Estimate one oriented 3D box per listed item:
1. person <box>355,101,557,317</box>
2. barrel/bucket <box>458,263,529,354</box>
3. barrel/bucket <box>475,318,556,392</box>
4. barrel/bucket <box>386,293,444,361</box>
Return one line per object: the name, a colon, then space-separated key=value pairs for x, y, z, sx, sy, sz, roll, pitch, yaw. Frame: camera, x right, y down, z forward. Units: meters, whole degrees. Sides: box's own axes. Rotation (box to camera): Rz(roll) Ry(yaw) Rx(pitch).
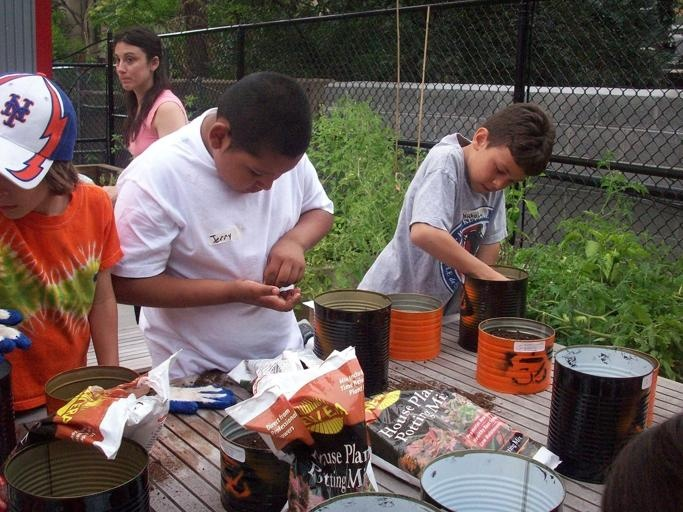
person: x=0.565 y=-0.190 z=2.720 sx=0.647 sy=1.043 sz=0.750 roll=-13 pitch=25 yaw=-40
barrel/bucket: x=0.522 y=0.197 z=2.259 sx=0.269 sy=0.311 sz=0.269 roll=2 pitch=10 yaw=0
barrel/bucket: x=0.570 y=0.332 z=1.971 sx=0.227 sy=0.180 sz=0.247 roll=0 pitch=11 yaw=0
barrel/bucket: x=0.274 y=0.268 z=2.206 sx=0.201 sy=0.185 sz=0.232 roll=0 pitch=9 yaw=-3
